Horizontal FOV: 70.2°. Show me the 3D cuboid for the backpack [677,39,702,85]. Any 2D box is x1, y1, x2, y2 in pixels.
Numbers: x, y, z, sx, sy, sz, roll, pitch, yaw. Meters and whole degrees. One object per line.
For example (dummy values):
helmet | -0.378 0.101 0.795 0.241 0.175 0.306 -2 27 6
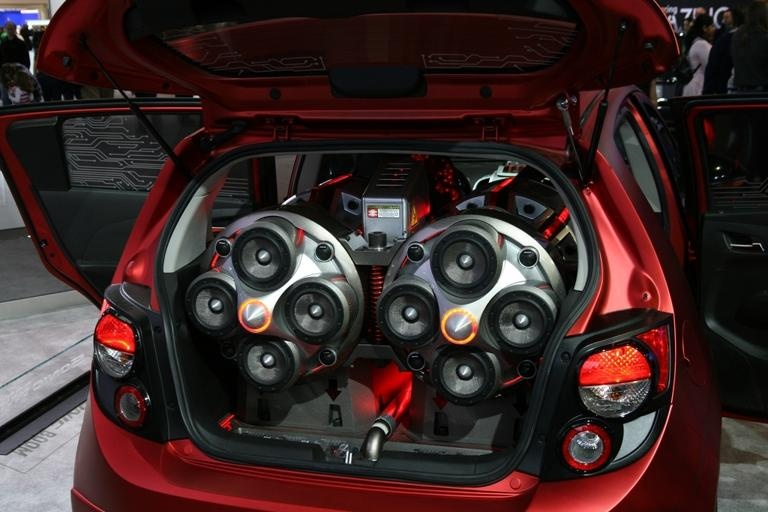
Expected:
backpack | 4.599 -2.845 8.366 0.377 0.564 0.570 10 32 32
